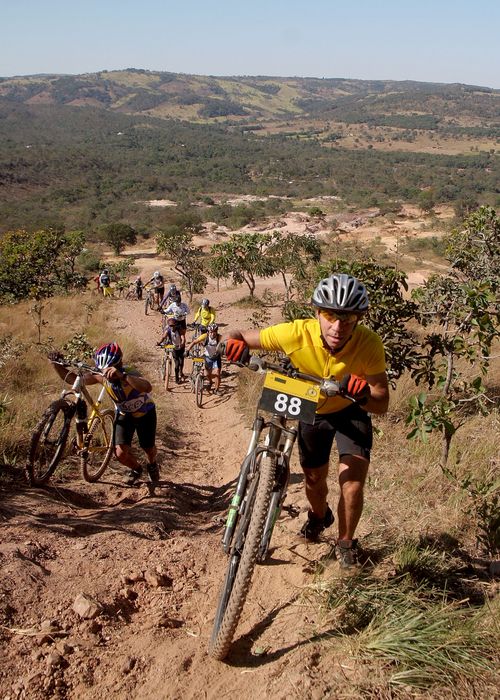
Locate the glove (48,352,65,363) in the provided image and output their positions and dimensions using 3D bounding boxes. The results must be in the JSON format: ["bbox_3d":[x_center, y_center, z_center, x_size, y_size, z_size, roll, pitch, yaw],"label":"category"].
[{"bbox_3d":[-1.699,0.059,5.050,0.089,0.056,0.122,18,-7,-36],"label":"glove"}]

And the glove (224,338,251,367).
[{"bbox_3d":[-0.084,0.021,3.255,0.121,0.154,0.155,5,-32,-13],"label":"glove"}]

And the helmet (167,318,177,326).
[{"bbox_3d":[-1.348,-0.480,9.939,0.113,0.130,0.109,1,-7,1],"label":"helmet"}]

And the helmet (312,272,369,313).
[{"bbox_3d":[0.482,-0.292,3.134,0.215,0.226,0.277,-17,13,-36],"label":"helmet"}]

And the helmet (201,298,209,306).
[{"bbox_3d":[-0.822,-0.899,10.866,0.143,0.174,0.179,7,7,30],"label":"helmet"}]

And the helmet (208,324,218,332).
[{"bbox_3d":[-0.541,-0.346,8.496,0.103,0.127,0.121,1,-14,3],"label":"helmet"}]

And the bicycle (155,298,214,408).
[{"bbox_3d":[-1.210,-0.389,10.873,1.077,1.287,2.114,8,14,-5],"label":"bicycle"}]

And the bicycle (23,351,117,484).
[{"bbox_3d":[-1.857,0.700,5.595,0.686,0.893,1.419,16,-4,11],"label":"bicycle"}]

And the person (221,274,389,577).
[{"bbox_3d":[0.323,0.434,3.361,1.059,1.595,1.086,-1,2,-36],"label":"person"}]

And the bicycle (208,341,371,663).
[{"bbox_3d":[0.090,0.790,3.219,0.879,1.497,0.947,-10,10,0],"label":"bicycle"}]

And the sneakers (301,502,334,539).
[{"bbox_3d":[0.477,1.191,4.030,0.110,0.273,0.173,19,-19,49],"label":"sneakers"}]

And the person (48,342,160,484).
[{"bbox_3d":[-1.206,0.644,5.249,0.905,1.362,0.692,-11,9,-44],"label":"person"}]

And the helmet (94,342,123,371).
[{"bbox_3d":[-1.253,0.087,4.979,0.211,0.241,0.256,4,30,1],"label":"helmet"}]
